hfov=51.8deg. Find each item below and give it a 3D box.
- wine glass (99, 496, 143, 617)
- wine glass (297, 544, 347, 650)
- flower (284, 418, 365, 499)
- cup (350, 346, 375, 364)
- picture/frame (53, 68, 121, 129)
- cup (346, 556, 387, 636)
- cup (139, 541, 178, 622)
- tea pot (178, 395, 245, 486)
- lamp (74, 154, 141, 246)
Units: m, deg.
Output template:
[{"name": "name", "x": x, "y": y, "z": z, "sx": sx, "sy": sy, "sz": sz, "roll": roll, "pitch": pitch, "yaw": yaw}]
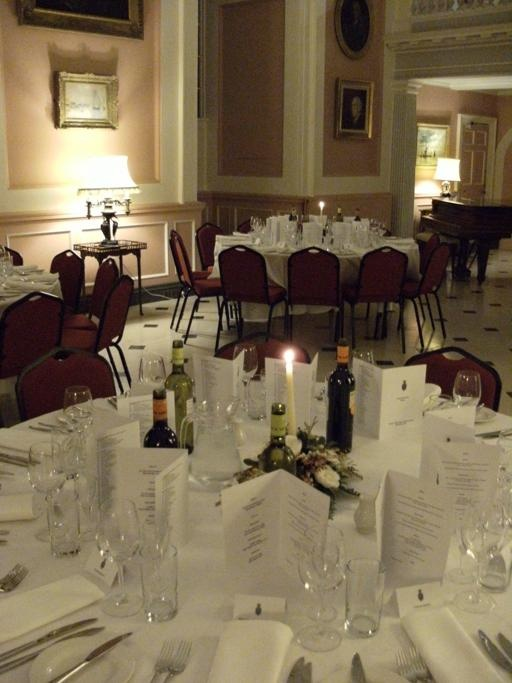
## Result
[{"name": "wine glass", "x": -0.229, "y": 0.353, "z": 0.899, "sx": 0.061, "sy": 0.170, "sz": 0.156, "roll": -3, "pitch": 9, "yaw": -14}, {"name": "wine glass", "x": 0.103, "y": 0.376, "z": 0.847, "sx": 0.069, "sy": 0.149, "sz": 0.193, "roll": 1, "pitch": 9, "yaw": 10}, {"name": "flower", "x": 0.152, "y": 0.287, "z": 1.220, "sx": 0.163, "sy": 0.065, "sz": 0.163, "roll": -5, "pitch": 32, "yaw": -31}, {"name": "cup", "x": 0.338, "y": 0.042, "z": 1.701, "sx": 0.061, "sy": 0.060, "sz": 0.062, "roll": -1, "pitch": 7, "yaw": 0}, {"name": "picture/frame", "x": -2.057, "y": -2.900, "z": 6.273, "sx": 0.084, "sy": 0.626, "sz": 0.794, "roll": 19, "pitch": 25, "yaw": 38}, {"name": "cup", "x": 0.167, "y": 0.384, "z": 0.823, "sx": 0.059, "sy": 0.142, "sz": 0.102, "roll": 1, "pitch": 9, "yaw": 13}, {"name": "cup", "x": -0.157, "y": 0.381, "z": 0.850, "sx": 0.054, "sy": 0.122, "sz": 0.062, "roll": -3, "pitch": 9, "yaw": -14}, {"name": "tea pot", "x": -0.141, "y": 0.276, "z": 1.450, "sx": 0.122, "sy": 0.215, "sz": 0.211, "roll": 16, "pitch": 27, "yaw": 31}, {"name": "lamp", "x": -1.813, "y": -1.712, "z": 6.414, "sx": 0.673, "sy": 1.028, "sz": 0.605, "roll": -5, "pitch": 9, "yaw": -26}]
